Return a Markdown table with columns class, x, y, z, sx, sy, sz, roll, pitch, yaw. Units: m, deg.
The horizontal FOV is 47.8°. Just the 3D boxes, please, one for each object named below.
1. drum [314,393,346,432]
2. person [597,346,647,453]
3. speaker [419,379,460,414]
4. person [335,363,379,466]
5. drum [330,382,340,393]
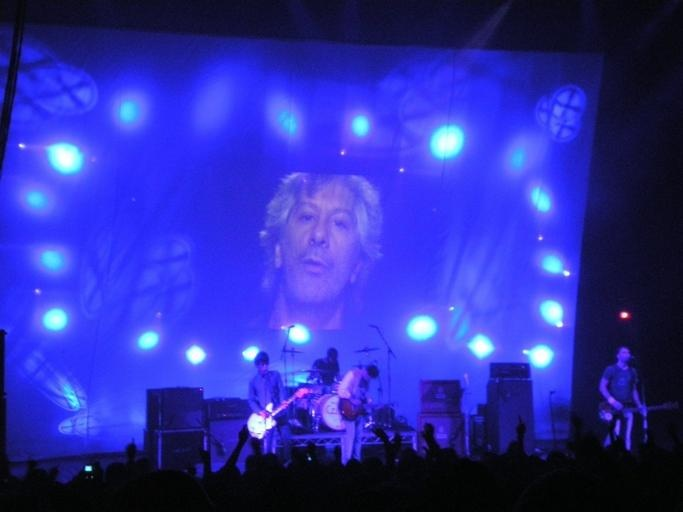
| class | x | y | z | sx | sy | sz | roll | pitch | yaw |
| --- | --- | --- | --- | --- | --- | --- | --- | --- | --- |
| drum | -0.165 | 2.132 | 10.774 | 0.450 | 0.476 | 0.471 | -12 | 3 | -26 |
| person | 3.988 | 2.106 | 10.891 | 0.624 | 1.616 | 0.405 | 1 | 22 | 21 |
| speaker | 1.398 | 1.995 | 11.037 | 0.725 | 0.523 | 0.399 | 0 | -8 | -2 |
| person | 0.165 | 2.166 | 10.639 | 0.519 | 1.382 | 0.160 | 0 | 5 | -32 |
| drum | -0.086 | 1.831 | 10.731 | 0.124 | 0.124 | 0.119 | 5 | -17 | -15 |
